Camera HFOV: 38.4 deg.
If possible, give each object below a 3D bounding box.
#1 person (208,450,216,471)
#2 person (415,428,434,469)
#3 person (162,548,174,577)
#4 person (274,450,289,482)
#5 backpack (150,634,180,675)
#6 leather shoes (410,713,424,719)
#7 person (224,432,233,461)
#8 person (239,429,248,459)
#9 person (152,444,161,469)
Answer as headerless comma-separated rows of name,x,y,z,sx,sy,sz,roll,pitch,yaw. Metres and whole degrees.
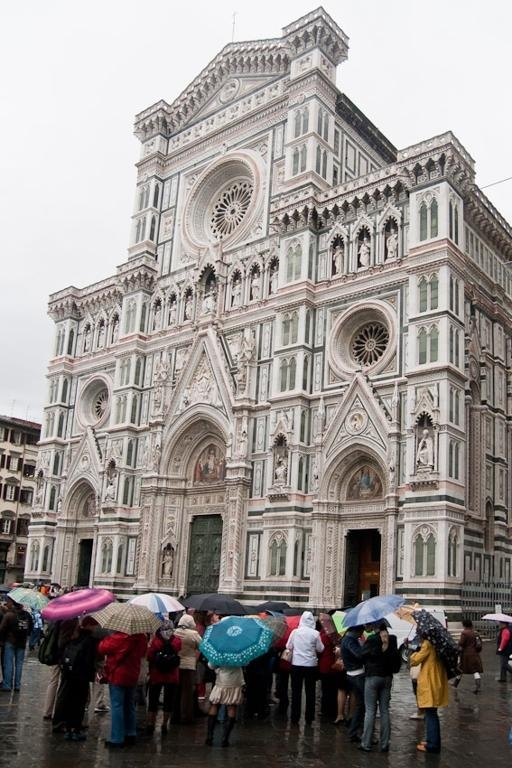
person,-1.902,3.268,31.735,0.122,1.071,0.515,20,-23,-35
person,5.327,2.025,23.126,0.180,1.350,0.615,18,-22,-33
person,-3.782,7.543,31.407,0.629,1.315,0.229,-11,-25,41
person,0.902,3.109,27.133,0.211,1.124,0.671,16,-21,-29
backpack,-1.157,3.476,9.425,0.386,0.487,0.489,4,-20,-9
leather shoes,2.445,5.091,11.324,0.265,0.104,0.094,1,-23,10
person,-1.079,2.470,29.390,0.151,1.087,0.556,13,-20,-22
person,-0.474,2.306,28.793,0.342,1.183,0.200,7,-19,-4
person,-4.417,3.221,32.659,0.392,1.163,0.157,1,-19,13
